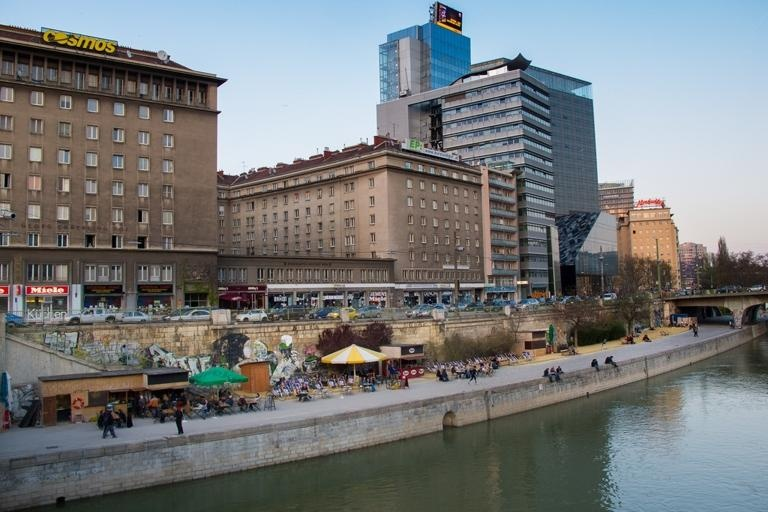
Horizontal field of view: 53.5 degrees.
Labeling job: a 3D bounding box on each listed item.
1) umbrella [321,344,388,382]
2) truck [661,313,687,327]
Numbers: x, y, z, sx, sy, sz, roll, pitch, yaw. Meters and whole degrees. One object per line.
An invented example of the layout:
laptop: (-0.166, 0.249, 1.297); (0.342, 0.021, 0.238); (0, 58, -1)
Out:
umbrella: (-2.889, 10.781, 75.168); (3.893, 2.597, 3.859); (-1, 3, -2)
truck: (51.898, 11.281, 134.748); (3.532, 2.004, 2.556); (-4, -5, 21)
